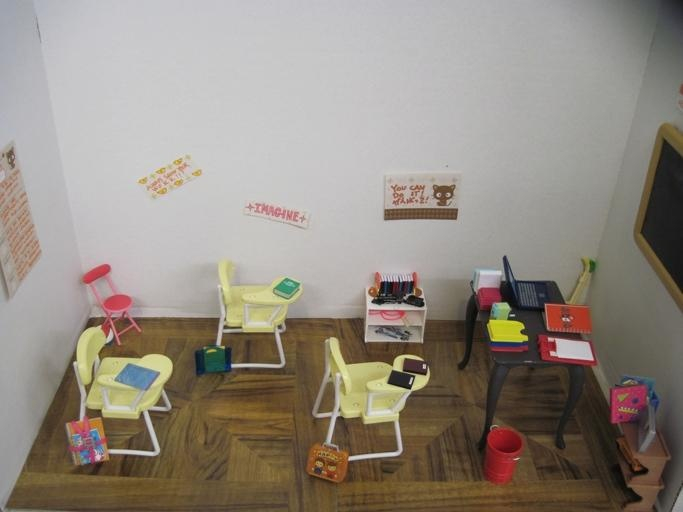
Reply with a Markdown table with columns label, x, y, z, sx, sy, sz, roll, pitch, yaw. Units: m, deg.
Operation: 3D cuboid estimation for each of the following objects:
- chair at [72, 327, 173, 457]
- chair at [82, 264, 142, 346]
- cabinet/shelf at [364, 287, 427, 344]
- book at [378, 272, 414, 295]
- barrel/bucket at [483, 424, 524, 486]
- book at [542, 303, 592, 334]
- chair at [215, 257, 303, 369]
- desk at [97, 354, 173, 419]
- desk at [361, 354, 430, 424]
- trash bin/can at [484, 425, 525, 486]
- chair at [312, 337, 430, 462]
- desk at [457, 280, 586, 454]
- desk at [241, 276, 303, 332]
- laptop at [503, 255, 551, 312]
| label | x | y | z | sx | sy | sz | roll | pitch | yaw |
| --- | --- | --- | --- | --- | --- | --- | --- | --- | --- |
| chair | -1.970 | 1.257 | 4.299 | 0.704 | 0.917 | 0.651 | 3 | 52 | -9 |
| chair | -2.491 | 0.523 | 5.264 | 0.454 | 0.720 | 0.355 | 16 | 31 | 17 |
| cabinet/shelf | 0.587 | 0.700 | 5.496 | 0.843 | 0.686 | 0.547 | 1 | 45 | 1 |
| book | 0.594 | 0.300 | 5.260 | 0.426 | 0.216 | 0.148 | 1 | 27 | 1 |
| barrel/bucket | 1.368 | 1.685 | 4.160 | 0.353 | 0.450 | 0.432 | 3 | 35 | 7 |
| book | 2.001 | 0.546 | 4.279 | 0.381 | 0.167 | 0.273 | 3 | 28 | 4 |
| chair | -0.907 | 0.606 | 5.128 | 0.933 | 1.047 | 0.731 | 11 | 32 | 5 |
| desk | -1.785 | 1.085 | 4.159 | 0.609 | 0.429 | 0.567 | -14 | 31 | -26 |
| desk | 0.449 | 1.085 | 4.046 | 0.567 | 0.445 | 0.472 | -1 | 44 | -2 |
| trash bin/can | 1.397 | 1.732 | 4.144 | 0.206 | 0.351 | 0.297 | -7 | 37 | -11 |
| chair | 0.231 | 1.249 | 4.210 | 0.923 | 1.064 | 0.734 | 7 | 31 | 8 |
| desk | 1.697 | 1.019 | 4.646 | 0.834 | 1.003 | 1.267 | -2 | 28 | 1 |
| desk | -0.673 | 0.490 | 4.909 | 0.596 | 0.478 | 0.471 | 3 | 53 | -3 |
| laptop | 1.744 | 0.303 | 4.520 | 0.442 | 0.365 | 0.480 | -1 | 46 | 5 |
